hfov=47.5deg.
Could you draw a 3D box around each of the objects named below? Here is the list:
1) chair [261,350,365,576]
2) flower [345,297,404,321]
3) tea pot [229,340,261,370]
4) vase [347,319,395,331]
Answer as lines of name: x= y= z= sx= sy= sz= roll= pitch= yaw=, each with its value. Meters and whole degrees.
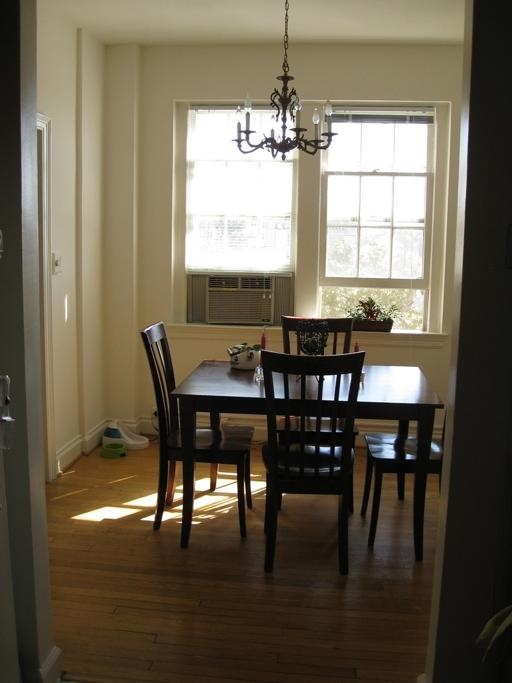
chair: x=0.232 y=0.524 z=2.458 sx=0.398 sy=1.324 sz=0.562 roll=1 pitch=28 yaw=2
flower: x=0.807 y=-0.227 z=4.037 sx=0.372 sy=0.157 sz=0.211 roll=3 pitch=6 yaw=16
tea pot: x=-0.064 y=0.079 z=3.005 sx=0.113 sy=0.113 sz=0.138 roll=2 pitch=2 yaw=0
vase: x=0.783 y=-0.109 z=3.961 sx=0.260 sy=0.091 sz=0.064 roll=2 pitch=5 yaw=4
